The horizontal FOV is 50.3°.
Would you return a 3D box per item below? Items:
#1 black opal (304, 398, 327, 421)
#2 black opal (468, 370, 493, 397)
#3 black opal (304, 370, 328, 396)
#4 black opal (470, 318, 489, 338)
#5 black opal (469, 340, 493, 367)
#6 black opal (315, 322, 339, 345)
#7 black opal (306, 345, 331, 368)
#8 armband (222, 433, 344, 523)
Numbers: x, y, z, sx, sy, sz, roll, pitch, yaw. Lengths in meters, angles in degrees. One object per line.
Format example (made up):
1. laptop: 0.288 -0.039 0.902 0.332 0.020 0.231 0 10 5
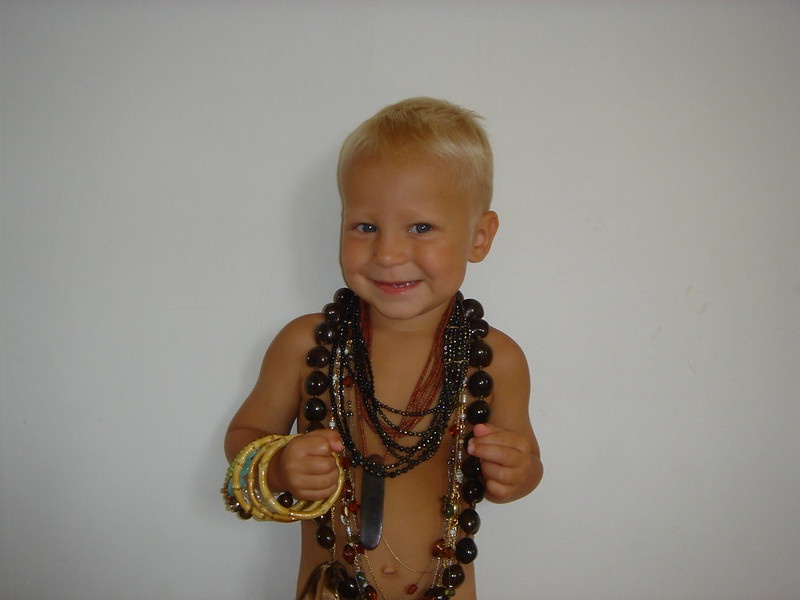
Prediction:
1. black opal: -0.322 0.417 3.276 0.077 0.101 0.082 4 -15 -13
2. black opal: 0.303 0.319 3.299 0.088 0.113 0.090 11 -17 -5
3. black opal: -0.322 0.318 3.292 0.080 0.103 0.082 3 -5 -6
4. black opal: 0.306 0.110 3.301 0.064 0.071 0.037 0 -9 -6
5. black opal: 0.307 0.206 3.267 0.067 0.097 0.072 0 -17 -8
6. black opal: -0.285 0.129 3.332 0.072 0.094 0.076 1 -5 -1
7. black opal: -0.317 0.222 3.265 0.066 0.086 0.046 -3 -16 1
8. armband: -0.416 0.658 3.082 0.425 0.290 0.270 14 -28 -10
